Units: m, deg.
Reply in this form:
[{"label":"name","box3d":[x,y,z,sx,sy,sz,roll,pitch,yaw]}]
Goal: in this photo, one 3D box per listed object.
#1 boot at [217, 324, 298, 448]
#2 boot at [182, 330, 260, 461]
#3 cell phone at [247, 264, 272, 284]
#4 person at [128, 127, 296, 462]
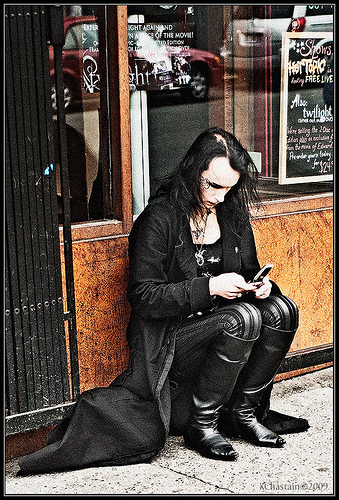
[{"label":"boot","box3d":[0.359,0.566,2.270,0.475,0.498,0.375,-8,16,-31]},{"label":"boot","box3d":[0.210,0.588,1.992,0.167,0.499,0.284,20,-10,-42]},{"label":"cell phone","box3d":[0.373,0.098,2.001,0.084,0.094,0.132,6,5,8]},{"label":"person","box3d":[0.188,0.180,2.091,0.751,1.400,0.454,5,6,-5]}]
